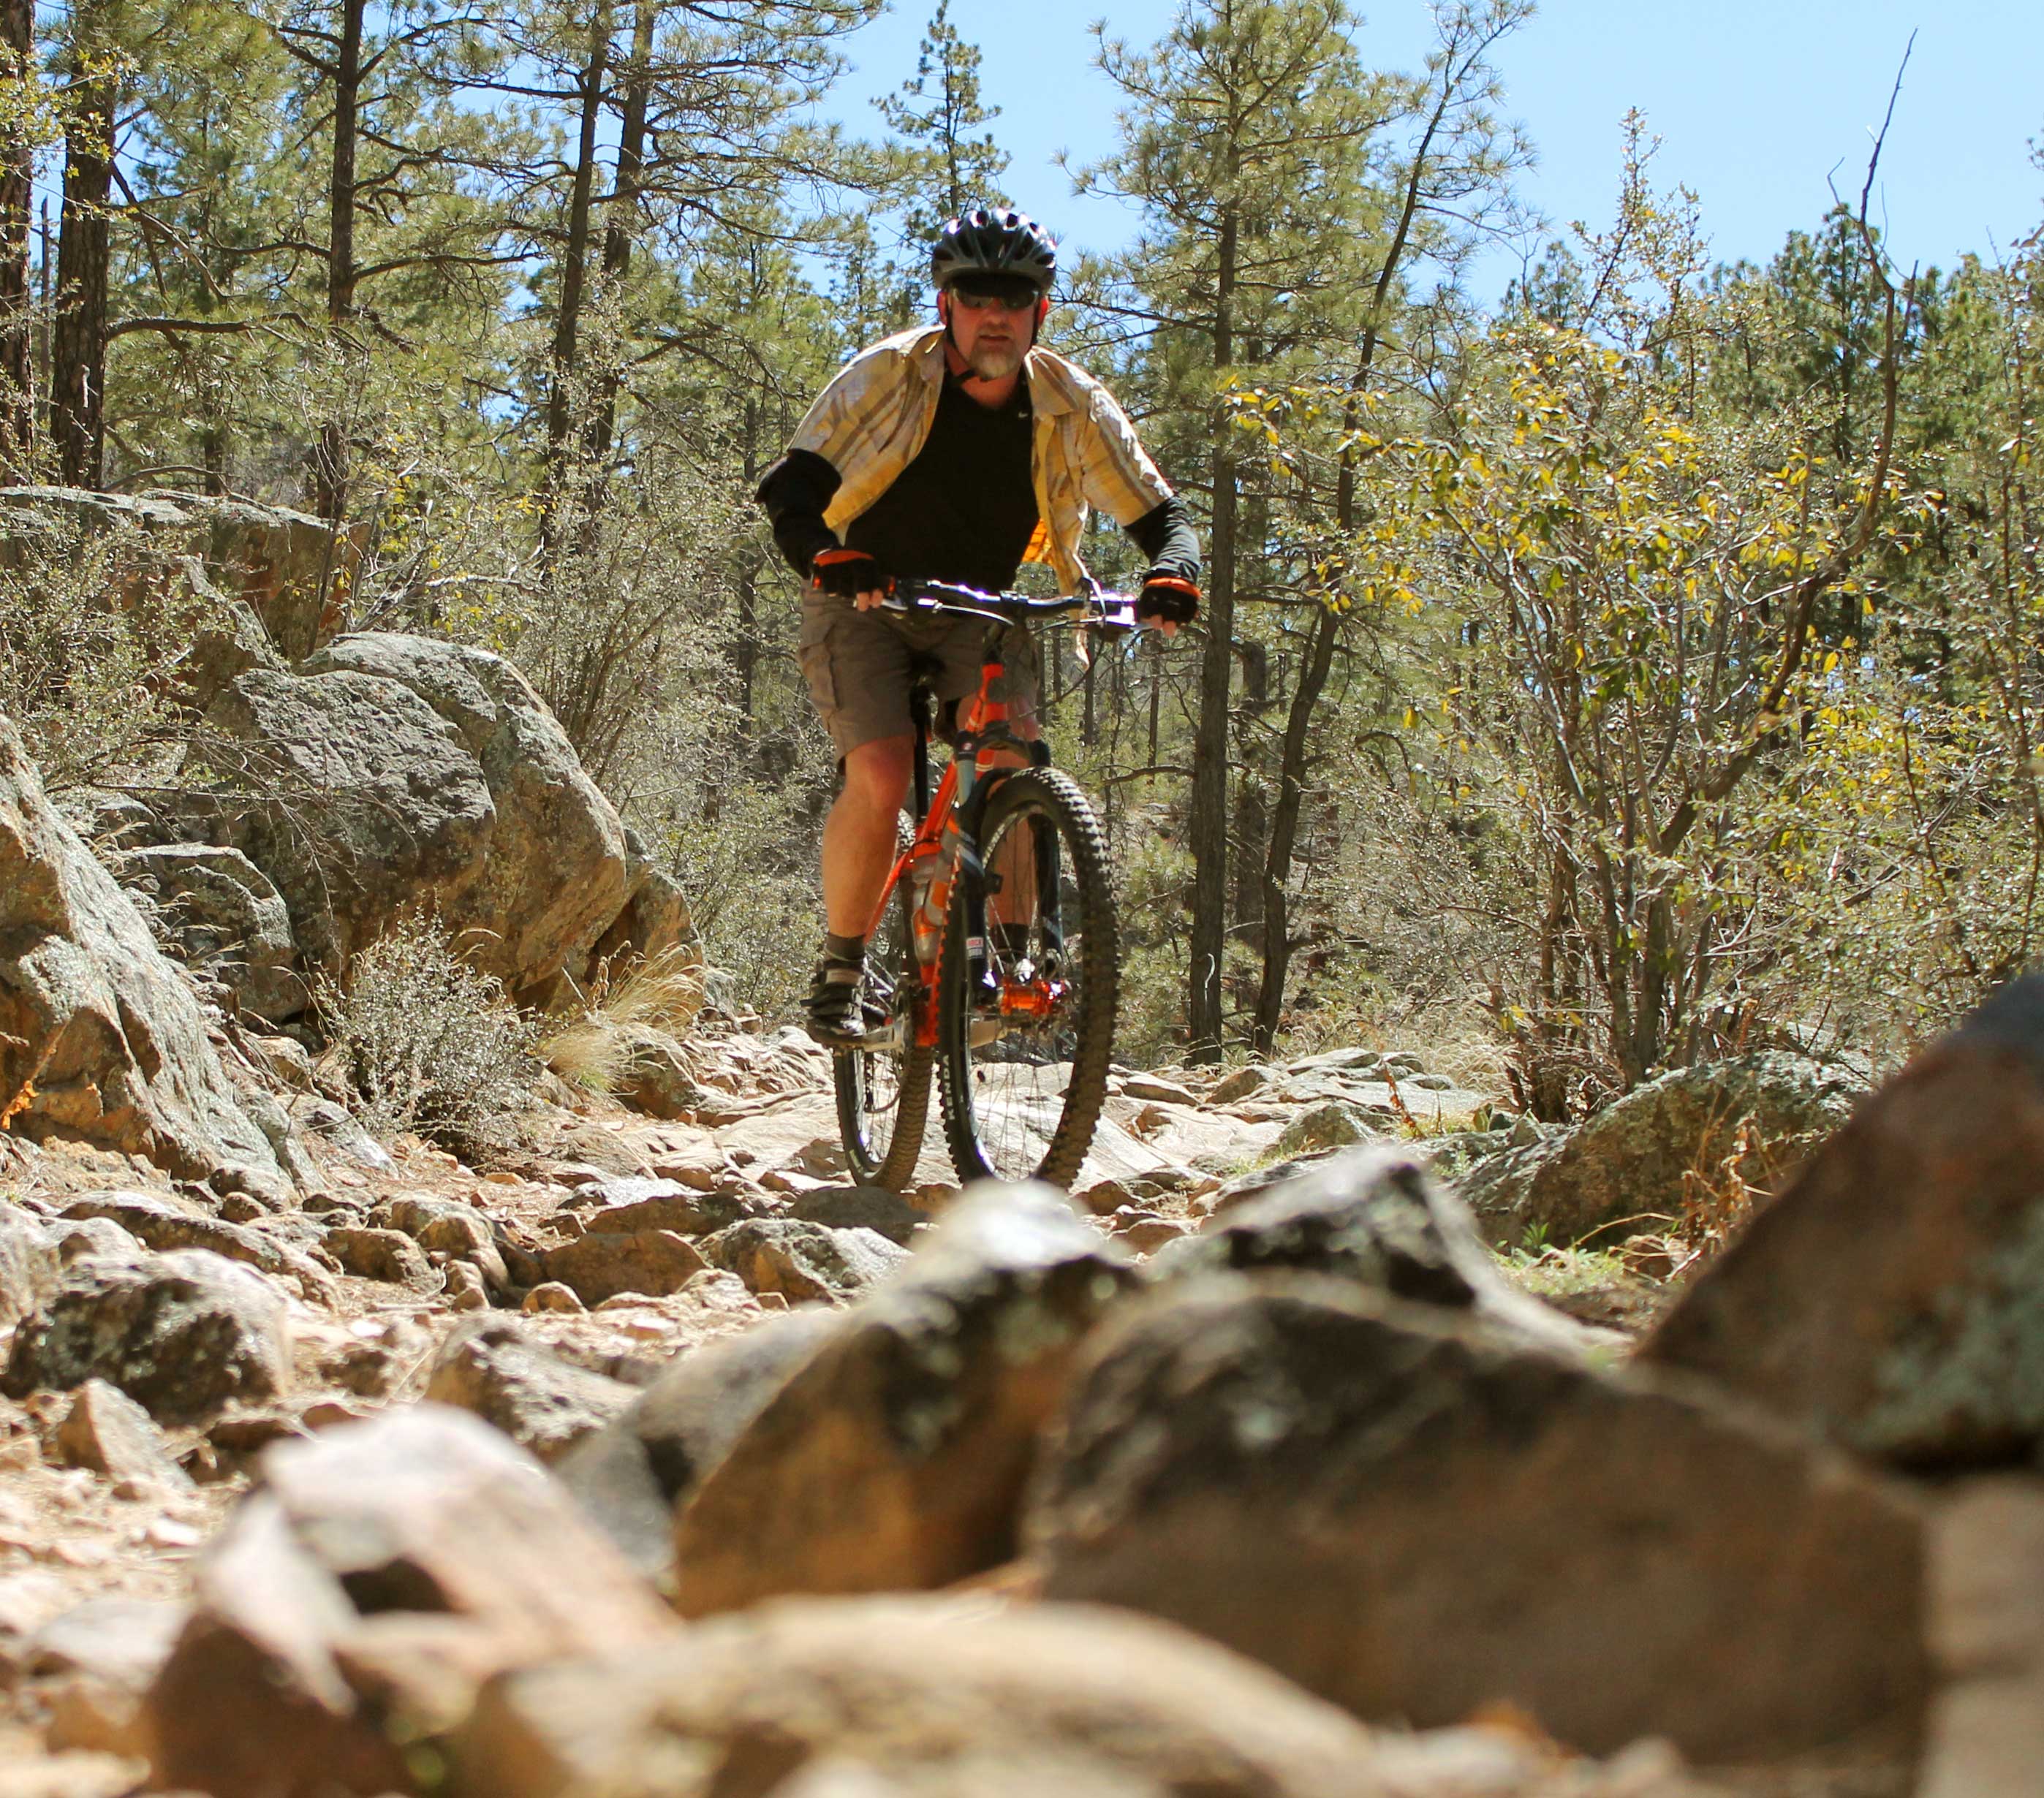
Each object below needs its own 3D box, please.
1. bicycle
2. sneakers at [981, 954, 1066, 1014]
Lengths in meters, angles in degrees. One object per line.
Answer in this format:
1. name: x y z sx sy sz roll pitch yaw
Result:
1. bicycle: -0.119 -0.027 4.907 0.569 1.469 1.266 -2 -4 -19
2. sneakers: -0.004 0.206 4.584 0.104 0.118 0.195 3 -4 -44
